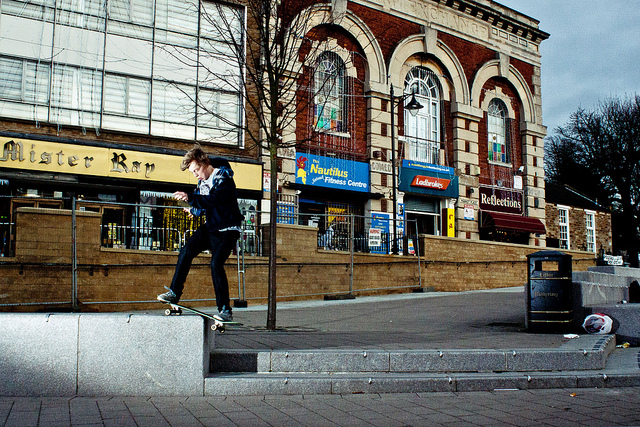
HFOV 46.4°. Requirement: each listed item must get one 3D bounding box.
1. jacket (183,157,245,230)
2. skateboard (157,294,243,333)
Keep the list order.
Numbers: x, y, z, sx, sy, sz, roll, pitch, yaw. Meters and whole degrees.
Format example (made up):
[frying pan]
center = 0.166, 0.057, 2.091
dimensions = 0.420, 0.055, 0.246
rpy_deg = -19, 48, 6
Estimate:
[jacket]
center = -2.233, -0.352, 15.405
dimensions = 1.258, 1.680, 1.221
rpy_deg = -6, -2, -30
[skateboard]
center = -2.437, 2.020, 14.716
dimensions = 1.687, 0.261, 0.407
rpy_deg = 16, -6, 15
